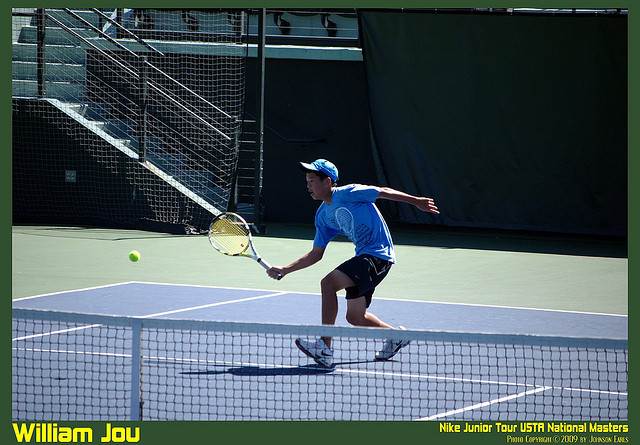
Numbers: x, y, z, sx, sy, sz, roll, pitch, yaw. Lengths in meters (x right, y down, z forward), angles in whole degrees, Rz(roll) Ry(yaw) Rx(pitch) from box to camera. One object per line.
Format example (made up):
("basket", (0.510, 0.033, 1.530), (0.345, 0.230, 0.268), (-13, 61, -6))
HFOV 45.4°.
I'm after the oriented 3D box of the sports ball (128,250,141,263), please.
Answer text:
("sports ball", (-2.655, 0.481, 10.904), (0.099, 0.102, 0.112), (-31, 33, -31))
